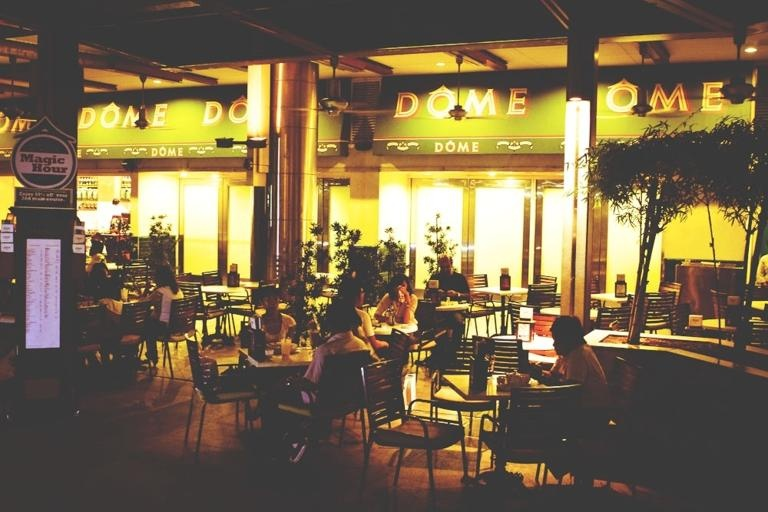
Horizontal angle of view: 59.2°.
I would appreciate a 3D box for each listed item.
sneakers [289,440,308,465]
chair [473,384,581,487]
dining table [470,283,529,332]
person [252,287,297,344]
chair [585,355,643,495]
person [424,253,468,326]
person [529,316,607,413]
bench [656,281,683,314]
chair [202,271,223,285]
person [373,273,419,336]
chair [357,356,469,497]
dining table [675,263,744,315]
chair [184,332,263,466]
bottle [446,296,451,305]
[{"bbox_3d":[-1.041,2.356,8.184,0.204,0.294,0.072,13,4,30],"label":"sneakers"},{"bbox_3d":[1.584,1.864,7.481,0.925,1.492,1.029,2,4,0],"label":"chair"},{"bbox_3d":[2.337,1.151,13.572,1.050,1.013,1.036,-3,5,-31],"label":"dining table"},{"bbox_3d":[-1.522,0.841,9.492,0.604,1.194,0.382,-5,-18,-13],"label":"person"},{"bbox_3d":[2.492,1.960,7.507,0.561,1.457,1.142,3,3,20],"label":"chair"},{"bbox_3d":[1.099,0.813,12.671,0.941,1.711,0.918,4,6,14],"label":"person"},{"bbox_3d":[2.183,1.305,7.882,0.738,1.152,0.633,3,14,40],"label":"person"},{"bbox_3d":[4.921,0.730,11.757,0.499,0.693,0.406,2,-4,-33],"label":"bench"},{"bbox_3d":[-3.579,0.449,13.930,0.298,0.496,0.306,-1,0,-35],"label":"chair"},{"bbox_3d":[0.162,0.775,10.727,0.756,0.937,0.634,7,8,5],"label":"person"},{"bbox_3d":[0.461,1.917,8.365,1.395,2.152,1.230,-5,-5,38],"label":"chair"},{"bbox_3d":[5.996,0.616,12.492,1.017,1.017,0.592,2,5,34],"label":"dining table"},{"bbox_3d":[-2.278,1.701,9.185,1.253,1.974,1.422,-1,6,-17],"label":"chair"},{"bbox_3d":[1.118,0.789,11.819,0.091,0.171,0.093,2,3,0],"label":"bottle"}]
